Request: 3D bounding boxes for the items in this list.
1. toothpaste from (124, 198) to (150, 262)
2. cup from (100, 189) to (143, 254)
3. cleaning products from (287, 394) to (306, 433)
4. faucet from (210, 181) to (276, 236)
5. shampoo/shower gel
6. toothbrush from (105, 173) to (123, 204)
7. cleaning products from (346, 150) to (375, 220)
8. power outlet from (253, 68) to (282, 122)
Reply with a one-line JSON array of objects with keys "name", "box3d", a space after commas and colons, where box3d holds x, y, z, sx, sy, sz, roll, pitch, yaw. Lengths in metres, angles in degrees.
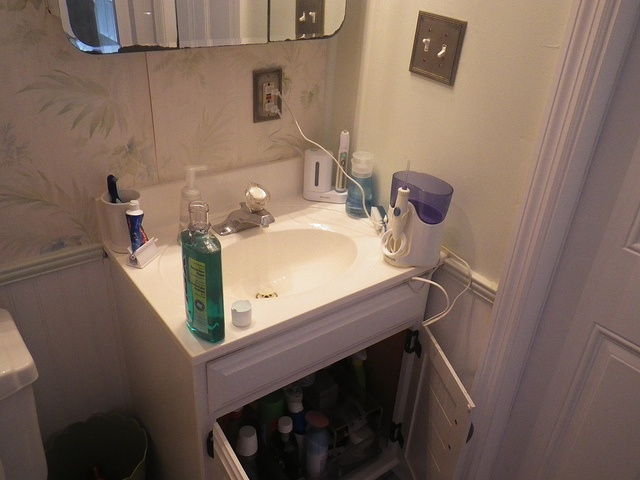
[{"name": "toothpaste", "box3d": [-0.541, -0.033, 1.400, 0.116, 0.173, 0.069, 15, 21, 26]}, {"name": "cup", "box3d": [-0.618, -0.047, 1.435, 0.107, 0.210, 0.136, 14, 23, 24]}, {"name": "cleaning products", "box3d": [-0.084, 0.622, 1.615, 0.041, 0.150, 0.105, -21, 42, -16]}, {"name": "faucet", "box3d": [-0.242, -0.087, 1.542, 0.168, 0.185, 0.181, 15, 36, 19]}, {"name": "shampoo/shower gel", "box3d": [-0.291, 0.108, 1.132, 0.102, 0.268, 0.148, -6, 30, -13]}, {"name": "toothbrush", "box3d": [-0.628, -0.155, 1.384, 0.035, 0.096, 0.062, -13, 32, -24]}, {"name": "cleaning products", "box3d": [0.144, -0.198, 1.615, 0.086, 0.243, 0.060, 23, 40, 29]}, {"name": "power outlet", "box3d": [-0.184, -0.505, 1.564, 0.127, 0.191, 0.024, -20, 38, -35]}]
